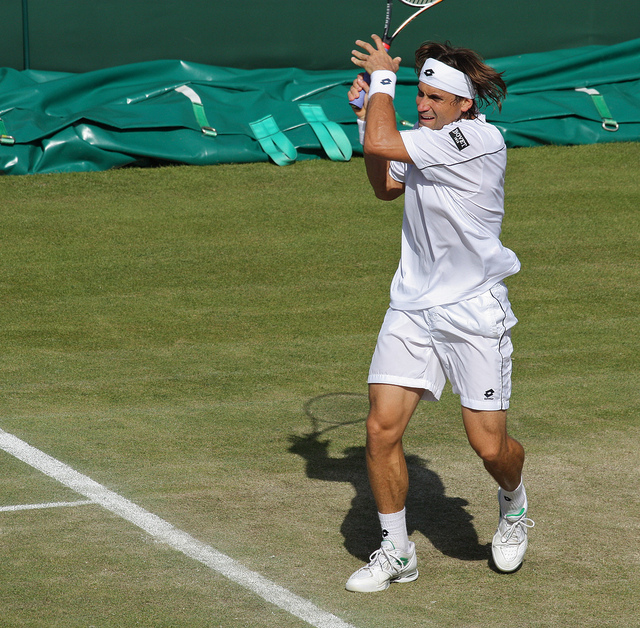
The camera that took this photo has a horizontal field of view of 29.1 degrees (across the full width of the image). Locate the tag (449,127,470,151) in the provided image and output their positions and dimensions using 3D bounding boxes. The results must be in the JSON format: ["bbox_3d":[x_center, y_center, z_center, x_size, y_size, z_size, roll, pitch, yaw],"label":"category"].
[{"bbox_3d":[0.638,-0.816,5.646,0.055,0.097,0.059,-16,19,-32],"label":"tag"}]

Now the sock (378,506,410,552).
[{"bbox_3d":[0.350,1.007,5.744,0.124,0.184,0.133,-5,15,1],"label":"sock"}]

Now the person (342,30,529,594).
[{"bbox_3d":[0.503,-0.047,5.820,0.868,2.566,1.143,-3,16,8],"label":"person"}]

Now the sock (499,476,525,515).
[{"bbox_3d":[0.919,0.866,5.884,0.086,0.168,0.154,4,9,23],"label":"sock"}]
